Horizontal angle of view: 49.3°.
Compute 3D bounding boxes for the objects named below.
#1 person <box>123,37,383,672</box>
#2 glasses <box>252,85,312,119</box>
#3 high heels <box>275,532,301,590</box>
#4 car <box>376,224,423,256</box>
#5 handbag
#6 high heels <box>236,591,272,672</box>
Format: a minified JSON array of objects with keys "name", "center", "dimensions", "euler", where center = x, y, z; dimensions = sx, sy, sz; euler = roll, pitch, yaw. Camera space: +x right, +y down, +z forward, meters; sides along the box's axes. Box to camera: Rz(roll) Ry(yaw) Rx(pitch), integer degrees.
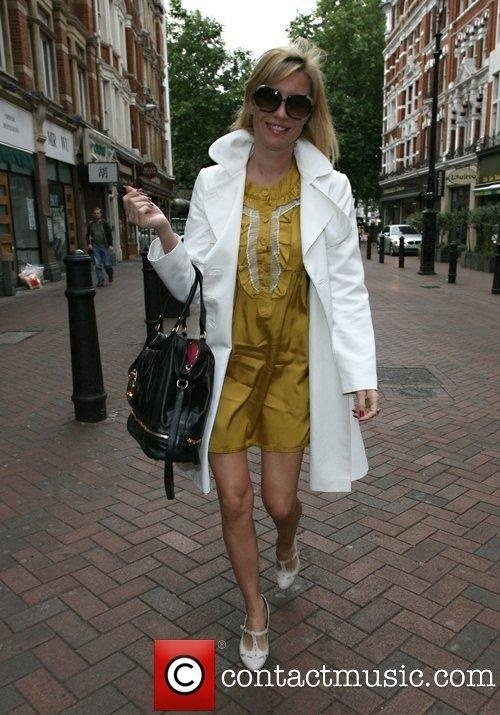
[{"name":"person","center":[0.048,-0.010,1.796],"dimensions":[0.809,2.016,0.476],"euler":[-2,8,-9]},{"name":"glasses","center":[0.099,-0.771,1.651],"dimensions":[0.178,0.106,0.053],"euler":[0,8,-1]},{"name":"high heels","center":[0.142,0.842,2.215],"dimensions":[0.079,0.067,0.219],"euler":[-3,15,4]},{"name":"car","center":[8.618,-6.763,30.703],"dimensions":[1.948,1.431,4.079],"euler":[-1,5,-5]},{"name":"handbag","center":[-0.246,0.042,1.660],"dimensions":[0.246,0.624,0.367],"euler":[-3,8,-17]},{"name":"high heels","center":[0.020,0.900,1.785],"dimensions":[0.097,0.074,0.254],"euler":[4,28,6]}]
